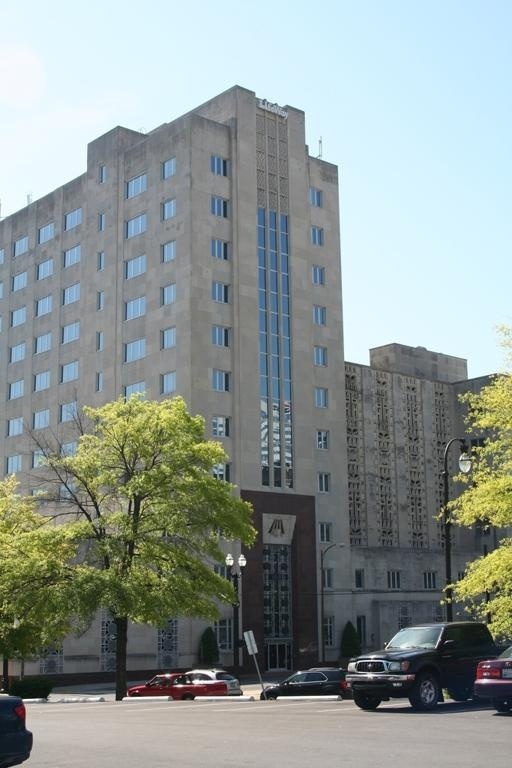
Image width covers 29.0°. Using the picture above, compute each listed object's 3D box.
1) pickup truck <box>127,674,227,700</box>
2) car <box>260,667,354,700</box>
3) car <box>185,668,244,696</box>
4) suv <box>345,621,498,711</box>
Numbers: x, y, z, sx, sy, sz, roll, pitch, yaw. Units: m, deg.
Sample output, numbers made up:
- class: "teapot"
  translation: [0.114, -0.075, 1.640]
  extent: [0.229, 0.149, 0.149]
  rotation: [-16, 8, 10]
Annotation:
- class: "pickup truck"
  translation: [-2.608, 10.333, 33.587]
  extent: [3.074, 1.086, 1.448]
  rotation: [-5, -17, 28]
- class: "car"
  translation: [1.699, 9.153, 30.160]
  extent: [3.312, 0.877, 1.254]
  rotation: [-14, -20, 34]
- class: "car"
  translation: [-1.400, 9.874, 33.077]
  extent: [1.627, 0.827, 0.863]
  rotation: [2, -11, 30]
- class: "suv"
  translation: [3.633, 6.052, 21.219]
  extent: [1.819, 1.747, 3.899]
  rotation: [-16, -22, 40]
